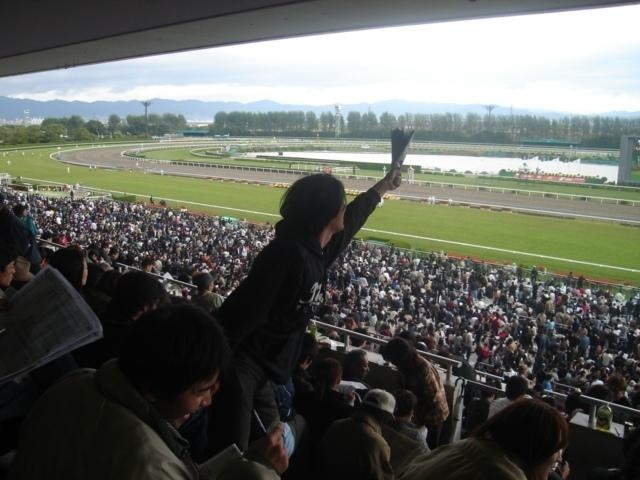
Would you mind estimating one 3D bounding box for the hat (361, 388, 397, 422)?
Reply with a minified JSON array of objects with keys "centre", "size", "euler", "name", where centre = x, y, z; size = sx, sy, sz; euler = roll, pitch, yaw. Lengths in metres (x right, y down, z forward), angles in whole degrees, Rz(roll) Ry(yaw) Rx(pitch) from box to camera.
[{"centre":[0.455,1.281,3.812],"size":[0.197,0.242,0.267],"euler":[18,-26,36],"name":"hat"}]
